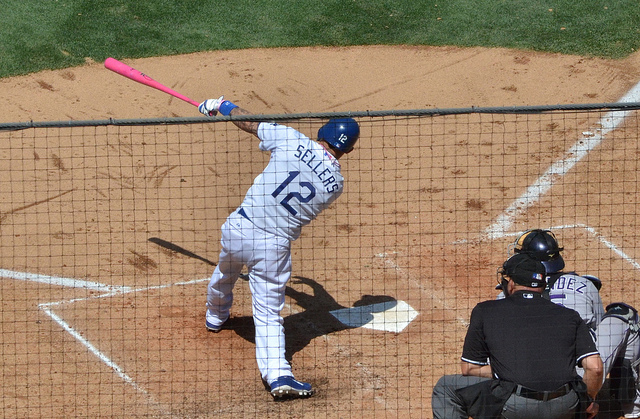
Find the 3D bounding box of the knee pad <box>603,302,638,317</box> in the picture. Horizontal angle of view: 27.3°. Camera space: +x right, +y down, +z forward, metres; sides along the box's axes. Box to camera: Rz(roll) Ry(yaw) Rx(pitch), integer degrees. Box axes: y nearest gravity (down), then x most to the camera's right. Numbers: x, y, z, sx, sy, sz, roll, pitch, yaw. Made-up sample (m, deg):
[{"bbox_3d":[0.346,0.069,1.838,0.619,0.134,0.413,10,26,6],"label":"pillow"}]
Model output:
[{"bbox_3d":[4.191,1.406,18.457,0.414,0.192,0.115,-5,93,-19],"label":"knee pad"}]
